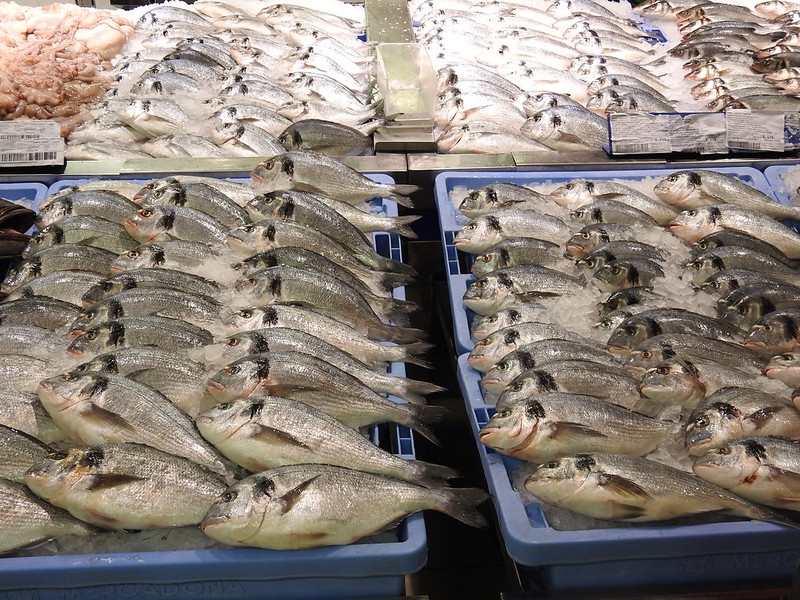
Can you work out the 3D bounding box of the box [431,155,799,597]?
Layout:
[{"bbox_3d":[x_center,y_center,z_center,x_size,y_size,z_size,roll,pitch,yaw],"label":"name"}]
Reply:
[{"bbox_3d":[0.708,0.448,3.442,2.405,0.653,1.705,-1,57,-5],"label":"box"}]

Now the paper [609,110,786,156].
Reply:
[{"bbox_3d":[1.706,-0.954,3.986,1.516,0.244,0.109,-8,16,-27],"label":"paper"}]
